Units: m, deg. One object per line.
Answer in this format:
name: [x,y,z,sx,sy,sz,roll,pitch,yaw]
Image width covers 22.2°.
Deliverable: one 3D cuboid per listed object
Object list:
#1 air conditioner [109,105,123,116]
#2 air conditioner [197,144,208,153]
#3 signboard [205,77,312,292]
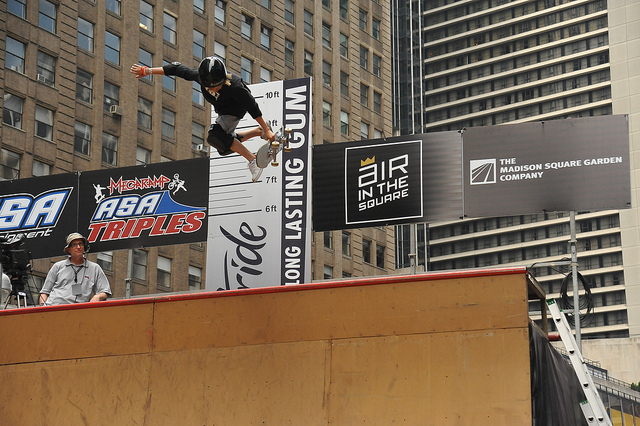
air conditioner: [-14.547,-7.212,116.216,0.615,0.757,1.124,0,0,-12]
air conditioner: [-8.757,-4.771,121.286,0.536,0.607,0.984,-3,-7,23]
signboard: [-3.254,-1.581,90.984,5.654,11.569,2.332,0,-13,2]
